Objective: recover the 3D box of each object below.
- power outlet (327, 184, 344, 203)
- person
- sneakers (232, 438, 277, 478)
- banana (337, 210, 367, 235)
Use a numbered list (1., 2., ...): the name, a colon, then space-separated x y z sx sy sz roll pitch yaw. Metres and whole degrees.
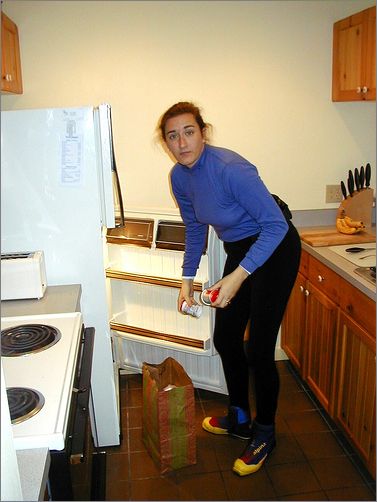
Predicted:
1. power outlet: 0.956 -0.383 2.423 0.133 0.162 0.012 -2 11 -7
2. person: 0.164 0.186 1.604 0.572 1.584 0.422 4 14 29
3. sneakers: 0.298 0.915 1.638 0.082 0.094 0.235 5 14 40
4. banana: 0.939 -0.152 2.183 0.106 0.127 0.176 -8 31 -3
